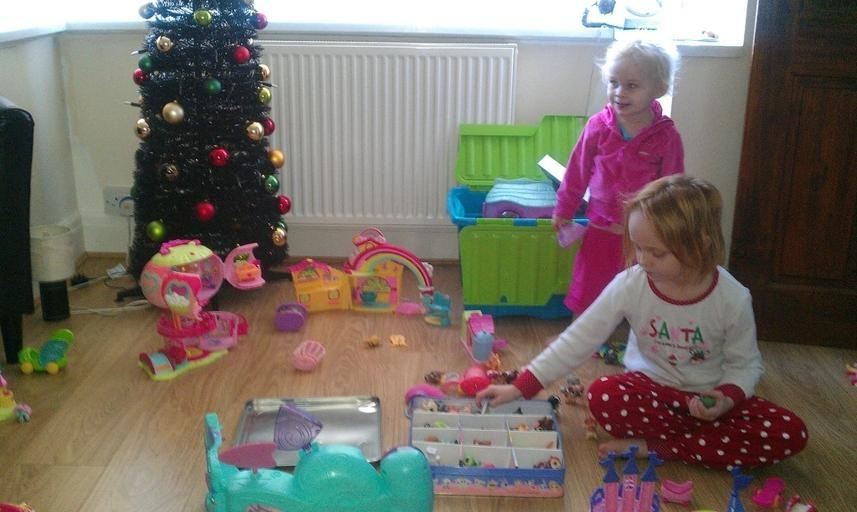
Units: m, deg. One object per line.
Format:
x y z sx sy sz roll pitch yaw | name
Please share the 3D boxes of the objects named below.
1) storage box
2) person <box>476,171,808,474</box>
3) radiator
0.469 -0.176 3.154 0.847 1.032 0.689 0 23 1 | storage box
0.795 0.244 2.393 1.068 0.952 0.624 2 15 28 | person
-0.231 -0.691 3.418 1.029 0.718 0.105 1 16 0 | radiator
